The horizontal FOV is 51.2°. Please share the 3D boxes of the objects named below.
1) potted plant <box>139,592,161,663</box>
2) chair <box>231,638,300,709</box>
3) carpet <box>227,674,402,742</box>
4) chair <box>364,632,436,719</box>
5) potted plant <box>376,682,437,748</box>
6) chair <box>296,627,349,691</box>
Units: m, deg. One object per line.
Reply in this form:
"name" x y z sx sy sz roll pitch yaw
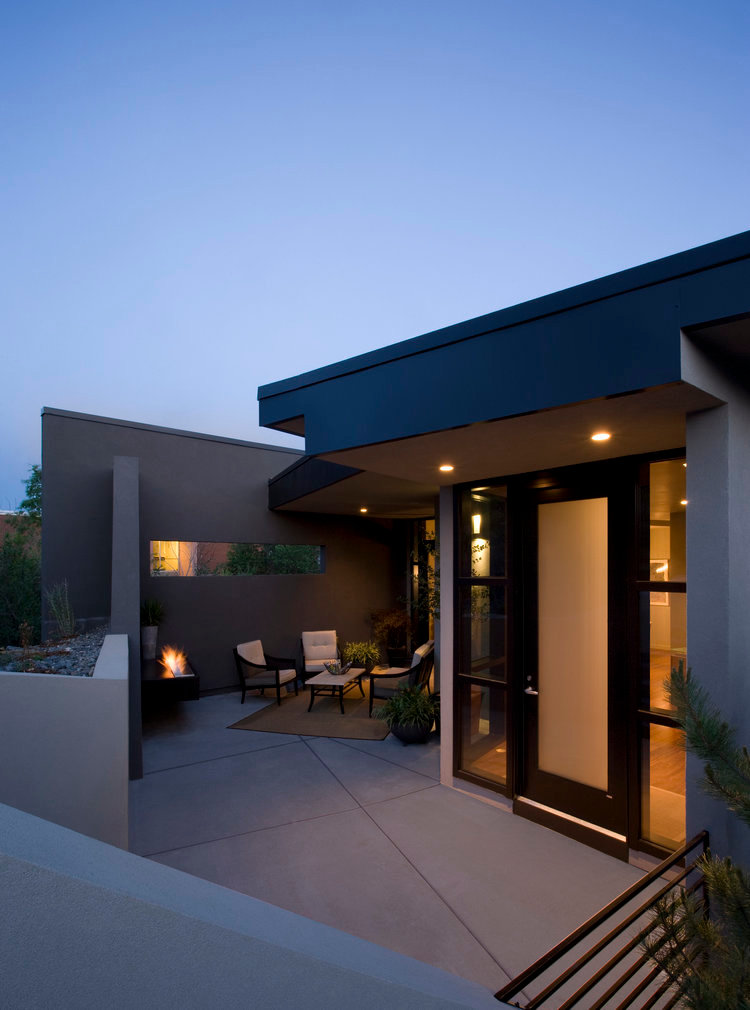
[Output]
"potted plant" -2.653 1.501 9.214 0.211 0.664 0.225 2 5 36
"chair" -1.385 2.145 10.118 0.537 0.752 0.845 -6 -6 9
"carpet" -0.687 2.376 8.759 1.585 0.102 2.477 0 -2 -4
"chair" 0.251 2.121 9.281 0.601 0.752 1.065 6 -9 1
"potted plant" 0.359 2.063 7.638 0.424 0.500 0.462 2 -7 -7
"chair" -0.711 2.105 10.881 0.492 0.780 0.560 0 -4 -12
